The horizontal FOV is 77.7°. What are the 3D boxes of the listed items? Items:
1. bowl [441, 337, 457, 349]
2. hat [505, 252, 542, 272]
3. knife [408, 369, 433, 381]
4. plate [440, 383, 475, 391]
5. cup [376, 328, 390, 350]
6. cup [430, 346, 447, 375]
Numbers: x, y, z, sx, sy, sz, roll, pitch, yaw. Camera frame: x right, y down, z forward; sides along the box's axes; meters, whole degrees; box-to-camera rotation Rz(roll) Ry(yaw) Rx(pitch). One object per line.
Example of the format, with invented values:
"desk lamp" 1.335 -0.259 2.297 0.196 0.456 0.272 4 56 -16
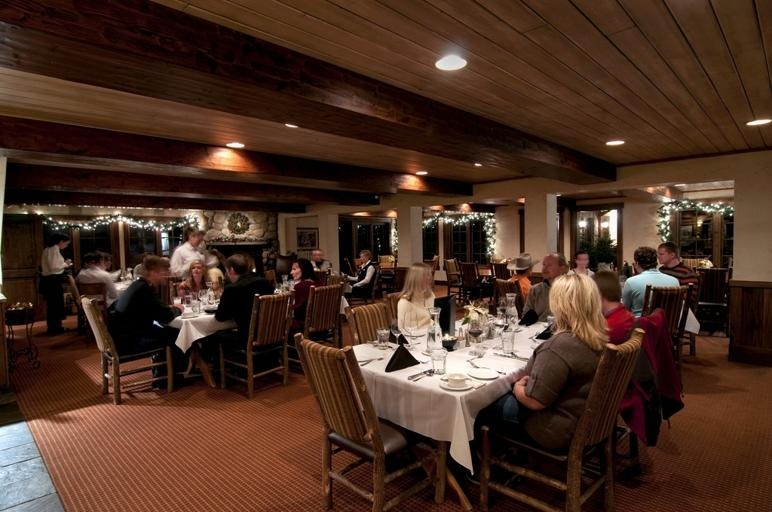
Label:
"bowl" 0.588 0.806 4.451 0.111 0.064 0.107 0 -1 0
"hat" 2.332 0.101 8.046 0.432 0.162 0.498 3 21 46
"knife" 0.287 0.959 3.857 0.071 0.019 0.238 12 6 32
"plate" 0.539 1.003 3.667 0.116 0.018 0.116 1 1 19
"cup" -0.027 0.761 4.450 0.128 0.177 0.193 0 3 -2
"cup" 0.435 0.861 3.988 0.185 0.199 0.180 0 4 0
